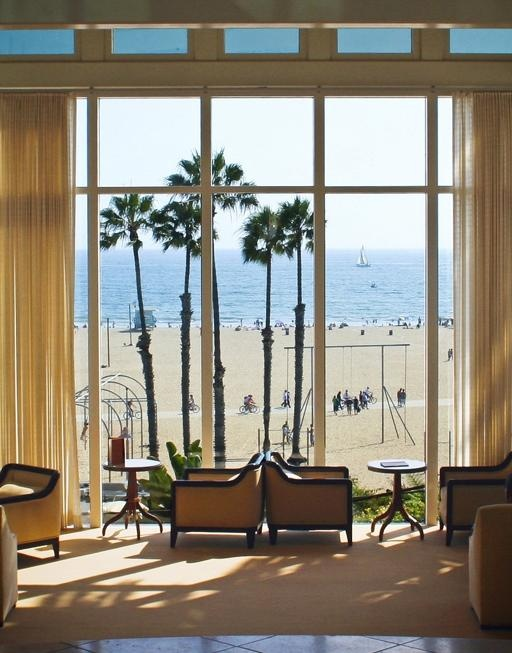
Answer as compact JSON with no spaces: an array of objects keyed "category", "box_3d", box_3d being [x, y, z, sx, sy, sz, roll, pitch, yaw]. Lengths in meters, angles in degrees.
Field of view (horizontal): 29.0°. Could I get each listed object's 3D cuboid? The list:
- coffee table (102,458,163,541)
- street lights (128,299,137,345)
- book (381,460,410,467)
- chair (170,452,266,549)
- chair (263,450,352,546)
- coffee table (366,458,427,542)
[{"category":"coffee table","box_3d":[-1.097,1.527,8.796,0.492,0.672,0.524,-10,-18,20]},{"category":"street lights","box_3d":[-1.170,-0.018,9.240,0.059,0.385,0.049,0,3,-2]},{"category":"book","box_3d":[1.197,1.196,8.616,0.242,0.007,0.273,0,4,0]},{"category":"chair","box_3d":[-0.347,1.508,8.587,0.791,0.776,0.892,1,-2,12]},{"category":"chair","box_3d":[0.431,1.450,8.293,0.641,0.670,0.614,0,-4,1]},{"category":"coffee table","box_3d":[1.225,1.531,8.671,0.550,0.636,0.571,-1,-1,36]}]
